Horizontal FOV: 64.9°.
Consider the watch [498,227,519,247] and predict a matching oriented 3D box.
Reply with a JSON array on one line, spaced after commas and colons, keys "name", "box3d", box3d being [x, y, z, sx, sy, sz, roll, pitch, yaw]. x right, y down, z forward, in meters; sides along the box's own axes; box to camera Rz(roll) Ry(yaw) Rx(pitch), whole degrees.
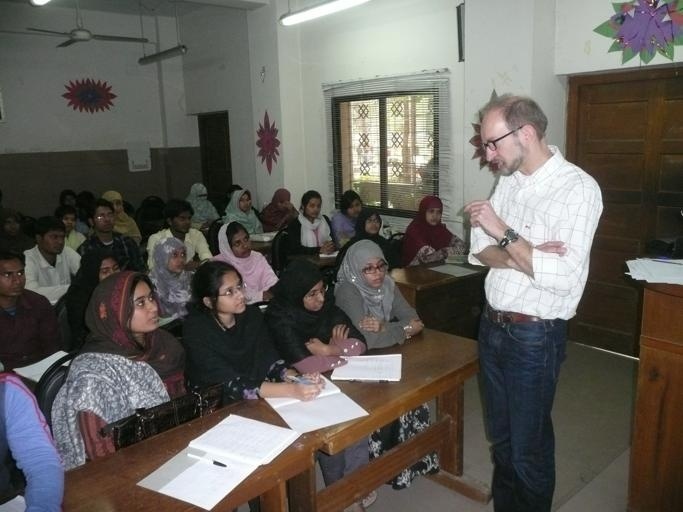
[{"name": "watch", "box3d": [0.648, -0.070, 2.134, 0.078, 0.048, 0.077, -43, -17, -2]}]

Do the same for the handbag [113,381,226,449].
[{"name": "handbag", "box3d": [-0.706, 0.634, 2.156, 0.479, 0.122, 0.046, -13, 15, -32]}]

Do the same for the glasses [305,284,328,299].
[{"name": "glasses", "box3d": [-0.147, 0.189, 2.821, 0.081, 0.034, 0.082, -35, 14, -35]}]

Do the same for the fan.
[{"name": "fan", "box3d": [-3.616, -3.050, 7.064, 1.199, 0.429, 1.180, -7, 10, -42]}]

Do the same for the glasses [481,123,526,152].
[{"name": "glasses", "box3d": [0.652, -0.479, 2.173, 0.106, 0.031, 0.103, -31, 4, 3]}]
